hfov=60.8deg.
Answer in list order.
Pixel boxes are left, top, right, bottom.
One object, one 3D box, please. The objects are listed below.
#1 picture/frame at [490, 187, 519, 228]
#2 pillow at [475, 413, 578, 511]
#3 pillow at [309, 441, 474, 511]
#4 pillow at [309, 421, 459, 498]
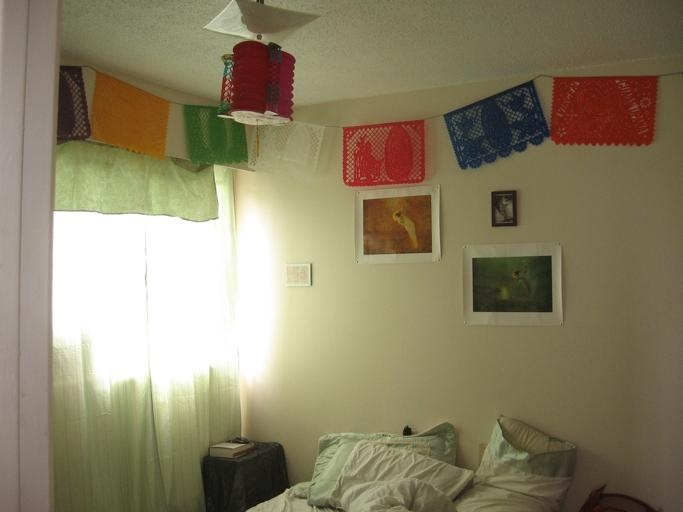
[{"bbox_3d":[1.059,-0.308,3.759,0.231,0.365,0.013,0,-4,20],"label":"picture/frame"},{"bbox_3d":[1.100,1.151,3.474,0.553,0.306,0.318,-3,-4,22],"label":"pillow"},{"bbox_3d":[0.244,1.324,3.431,0.957,0.339,0.507,-4,-5,31],"label":"pillow"},{"bbox_3d":[0.262,1.259,3.733,0.577,0.200,0.536,-7,18,15],"label":"pillow"}]
